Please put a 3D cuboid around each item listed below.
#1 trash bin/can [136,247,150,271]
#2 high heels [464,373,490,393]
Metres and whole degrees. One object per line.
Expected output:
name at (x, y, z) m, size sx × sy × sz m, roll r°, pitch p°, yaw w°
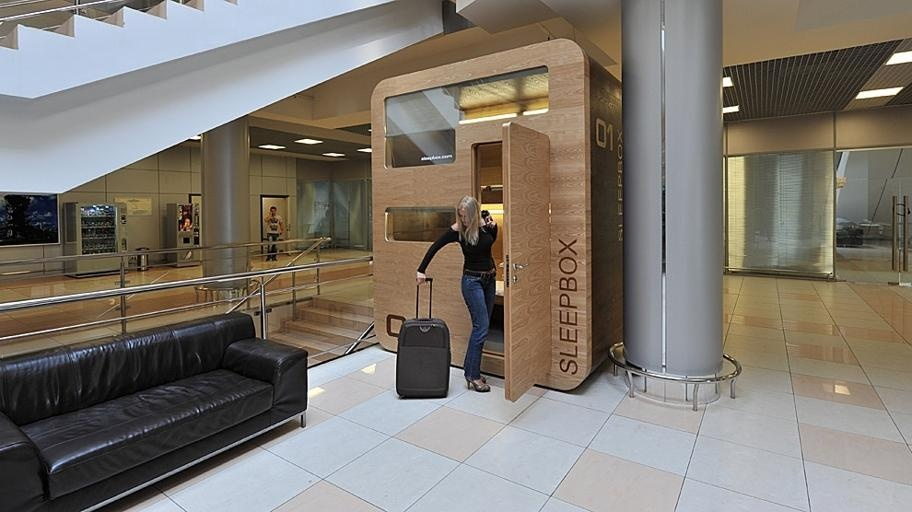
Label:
trash bin/can at (-8.907, 0.061, 14.312) m, size 0.314 × 0.593 × 1.392 m, roll -6°, pitch 6°, yaw -31°
high heels at (0.274, 1.755, 6.935) m, size 0.359 × 0.153 × 0.190 m, roll 0°, pitch 0°, yaw 30°
